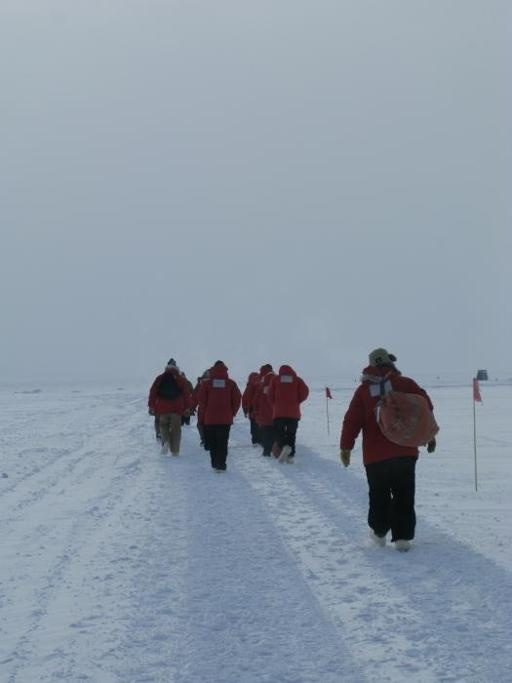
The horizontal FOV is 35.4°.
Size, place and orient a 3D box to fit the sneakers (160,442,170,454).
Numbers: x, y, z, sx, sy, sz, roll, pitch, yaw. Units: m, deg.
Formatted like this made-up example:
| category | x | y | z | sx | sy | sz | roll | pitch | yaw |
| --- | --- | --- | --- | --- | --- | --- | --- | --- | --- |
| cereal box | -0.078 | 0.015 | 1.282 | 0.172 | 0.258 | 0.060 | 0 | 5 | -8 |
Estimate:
| category | x | y | z | sx | sy | sz | roll | pitch | yaw |
| --- | --- | --- | --- | --- | --- | --- | --- | --- | --- |
| sneakers | -1.662 | 1.973 | 14.762 | 0.126 | 0.334 | 0.154 | 0 | -3 | 2 |

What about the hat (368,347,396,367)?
| category | x | y | z | sx | sy | sz | roll | pitch | yaw |
| --- | --- | --- | --- | --- | --- | --- | --- | --- | --- |
| hat | 0.997 | 0.135 | 6.366 | 0.210 | 0.139 | 0.151 | -14 | 9 | -11 |

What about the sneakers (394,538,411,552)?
| category | x | y | z | sx | sy | sz | roll | pitch | yaw |
| --- | --- | --- | --- | --- | --- | --- | --- | --- | --- |
| sneakers | 1.256 | 1.729 | 6.794 | 0.076 | 0.080 | 0.129 | 0 | -4 | 2 |

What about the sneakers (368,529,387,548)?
| category | x | y | z | sx | sy | sz | roll | pitch | yaw |
| --- | --- | --- | --- | --- | --- | --- | --- | --- | --- |
| sneakers | 1.073 | 1.718 | 7.014 | 0.135 | 0.138 | 0.101 | -7 | -10 | 36 |

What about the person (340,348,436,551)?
| category | x | y | z | sx | sy | sz | roll | pitch | yaw |
| --- | --- | --- | --- | --- | --- | --- | --- | --- | --- |
| person | 1.171 | 0.932 | 7.035 | 0.811 | 1.738 | 0.550 | 1 | 1 | 19 |

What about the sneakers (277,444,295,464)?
| category | x | y | z | sx | sy | sz | roll | pitch | yaw |
| --- | --- | --- | --- | --- | --- | --- | --- | --- | --- |
| sneakers | 0.536 | 1.908 | 13.598 | 0.180 | 0.385 | 0.174 | 12 | 20 | -3 |
